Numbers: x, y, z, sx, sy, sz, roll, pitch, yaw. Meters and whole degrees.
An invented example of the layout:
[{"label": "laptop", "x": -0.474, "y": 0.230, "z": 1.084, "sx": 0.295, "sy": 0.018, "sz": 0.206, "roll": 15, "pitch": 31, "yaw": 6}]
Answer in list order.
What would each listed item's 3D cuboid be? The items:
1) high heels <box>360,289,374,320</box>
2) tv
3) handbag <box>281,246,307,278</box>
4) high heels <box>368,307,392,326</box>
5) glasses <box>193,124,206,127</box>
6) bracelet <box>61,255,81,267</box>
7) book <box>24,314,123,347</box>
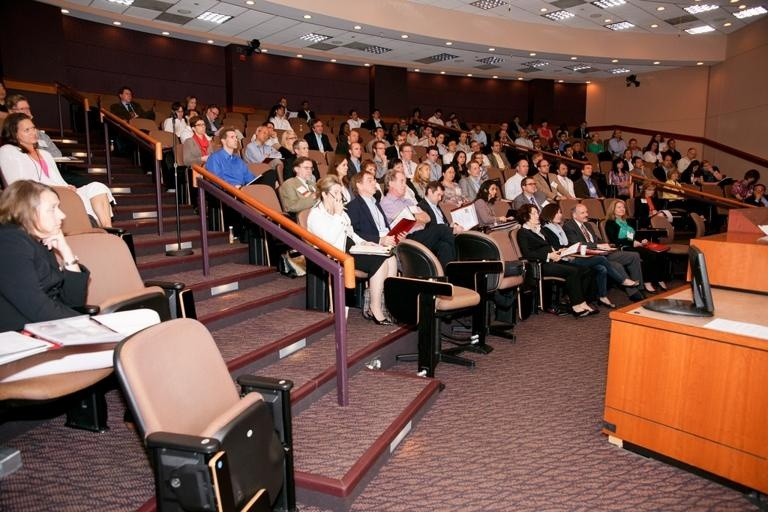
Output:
[{"label": "high heels", "x": -0.129, "y": 0.463, "z": 4.915, "sx": 0.114, "sy": 0.294, "sz": 0.133, "roll": 2, "pitch": -31, "yaw": 3}, {"label": "tv", "x": 2.049, "y": 0.168, "z": 3.619, "sx": 0.551, "sy": 0.429, "sz": 0.537, "roll": 0, "pitch": 1, "yaw": 16}, {"label": "handbag", "x": -0.947, "y": 0.056, "z": 5.582, "sx": 0.336, "sy": 0.300, "sz": 0.337, "roll": -19, "pitch": 7, "yaw": -9}, {"label": "high heels", "x": -0.036, "y": 0.575, "z": 4.851, "sx": 0.130, "sy": 0.121, "sz": 0.256, "roll": -11, "pitch": 16, "yaw": -39}, {"label": "glasses", "x": -2.465, "y": -1.715, "z": 6.837, "sx": 0.139, "sy": 0.034, "sz": 0.133, "roll": 3, "pitch": 7, "yaw": 34}, {"label": "bracelet", "x": -2.018, "y": 0.035, "z": 3.363, "sx": 0.067, "sy": 0.079, "sz": 0.092, "roll": 6, "pitch": -1, "yaw": 6}, {"label": "book", "x": -1.691, "y": 0.415, "z": 2.820, "sx": 0.269, "sy": 0.060, "sz": 0.271, "roll": 12, "pitch": 9, "yaw": 37}]
